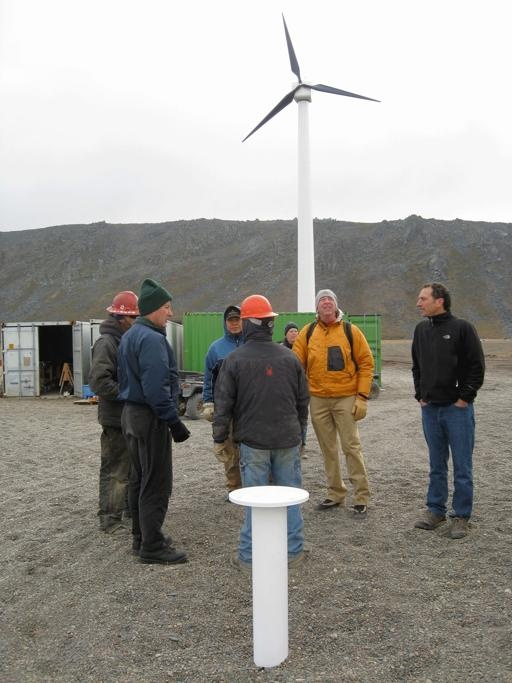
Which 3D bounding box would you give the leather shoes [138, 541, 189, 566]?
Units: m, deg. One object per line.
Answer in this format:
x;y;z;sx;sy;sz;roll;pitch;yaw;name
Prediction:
-0.640;1.465;4.211;0.331;0.154;0.130;0;0;-9;leather shoes

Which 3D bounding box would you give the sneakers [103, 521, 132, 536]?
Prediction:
-1.092;1.499;4.842;0.260;0.108;0.087;-2;-3;2;sneakers

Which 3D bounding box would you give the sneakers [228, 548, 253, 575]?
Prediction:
-0.108;1.513;4.144;0.072;0.081;0.192;3;20;-29;sneakers

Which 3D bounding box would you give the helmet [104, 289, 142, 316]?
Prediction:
-1.096;-0.302;4.985;0.274;0.172;0.218;2;20;-11;helmet

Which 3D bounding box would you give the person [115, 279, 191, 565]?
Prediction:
-0.715;0.555;4.202;0.430;1.990;0.487;-2;2;-17;person

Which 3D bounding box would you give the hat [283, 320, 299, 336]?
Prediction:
0.458;-0.175;7.907;0.185;0.215;0.246;-2;-6;-5;hat

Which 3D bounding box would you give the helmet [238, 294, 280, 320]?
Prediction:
0.000;-0.238;4.200;0.210;0.110;0.179;0;3;29;helmet

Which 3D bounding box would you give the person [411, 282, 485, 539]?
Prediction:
1.485;0.517;4.811;0.424;1.970;0.682;-2;2;-23;person

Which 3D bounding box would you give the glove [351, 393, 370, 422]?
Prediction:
0.911;0.587;5.300;0.177;0.204;0.232;0;-1;38;glove

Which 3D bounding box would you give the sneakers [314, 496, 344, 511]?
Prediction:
0.651;1.470;5.458;0.263;0.106;0.087;2;-2;-12;sneakers

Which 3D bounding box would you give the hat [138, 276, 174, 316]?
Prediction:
-0.716;-0.321;4.207;0.276;0.257;0.206;-16;10;-4;hat

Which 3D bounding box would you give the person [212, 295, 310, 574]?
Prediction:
0.045;0.348;4.148;0.685;1.337;0.446;-1;2;-6;person

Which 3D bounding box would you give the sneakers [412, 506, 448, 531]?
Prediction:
1.371;1.441;4.929;0.327;0.221;0.122;-1;2;-3;sneakers

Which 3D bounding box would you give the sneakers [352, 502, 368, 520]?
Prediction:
0.902;1.459;5.268;0.134;0.096;0.235;-1;1;9;sneakers

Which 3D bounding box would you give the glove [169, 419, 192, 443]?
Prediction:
-0.513;0.590;4.080;0.111;0.084;0.183;-1;41;-29;glove
